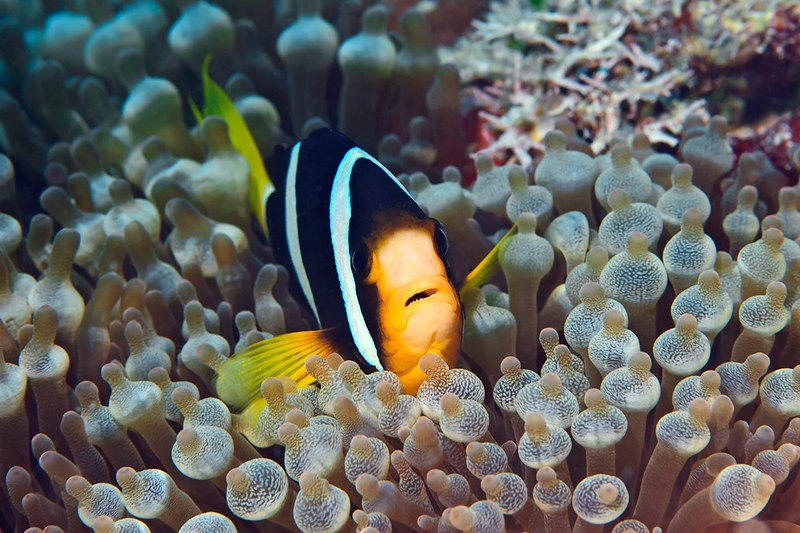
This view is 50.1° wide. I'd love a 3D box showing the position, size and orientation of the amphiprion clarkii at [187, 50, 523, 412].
[{"bbox_3d":[-0.150,-0.102,2.029,0.459,0.504,0.851,-16,40,-27],"label":"amphiprion clarkii"}]
